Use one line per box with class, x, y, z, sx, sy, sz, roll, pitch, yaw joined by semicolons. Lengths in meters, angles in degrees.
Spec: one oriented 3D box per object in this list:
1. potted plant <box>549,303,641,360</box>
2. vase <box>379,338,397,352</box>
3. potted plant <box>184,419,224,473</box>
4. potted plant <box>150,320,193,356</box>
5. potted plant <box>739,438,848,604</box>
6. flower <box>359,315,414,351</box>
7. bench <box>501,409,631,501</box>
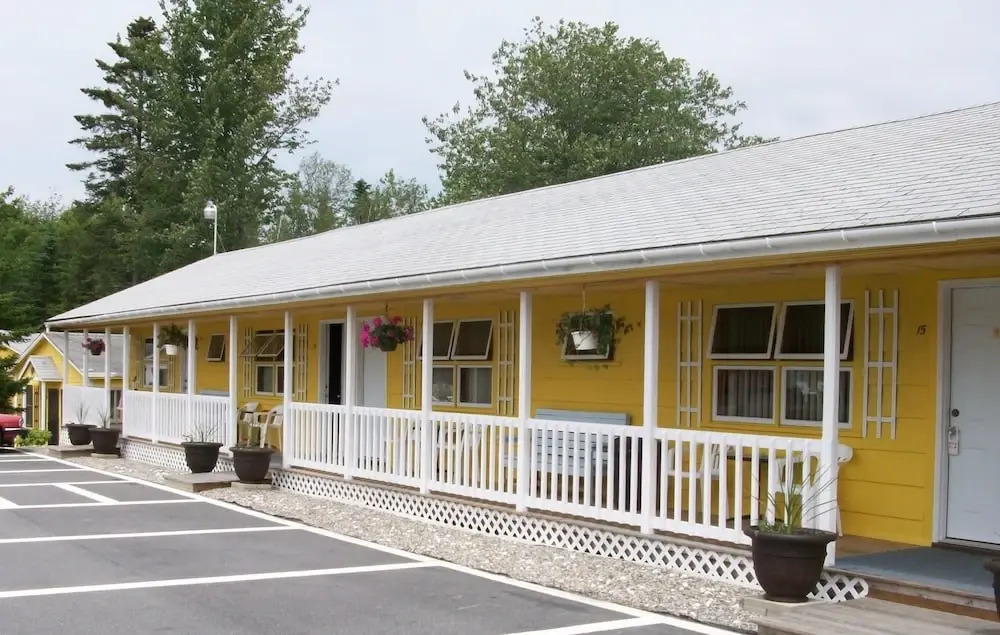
potted plant;1.573;0.350;15.665;1.230;0.953;1.338;3;-12;17
vase;-2.240;0.533;18.139;0.328;0.308;0.633;-1;4;-9
potted plant;-6.413;2.850;19.577;0.868;1.044;0.892;1;-9;-28
potted plant;-8.947;0.593;24.823;0.664;0.998;1.806;-3;4;-27
potted plant;3.821;2.867;12.282;1.593;2.280;1.688;2;-6;0
flower;-2.251;0.337;18.088;0.819;0.553;0.822;-1;-2;23
bench;1.350;2.262;14.907;1.524;1.433;3.049;0;4;4
